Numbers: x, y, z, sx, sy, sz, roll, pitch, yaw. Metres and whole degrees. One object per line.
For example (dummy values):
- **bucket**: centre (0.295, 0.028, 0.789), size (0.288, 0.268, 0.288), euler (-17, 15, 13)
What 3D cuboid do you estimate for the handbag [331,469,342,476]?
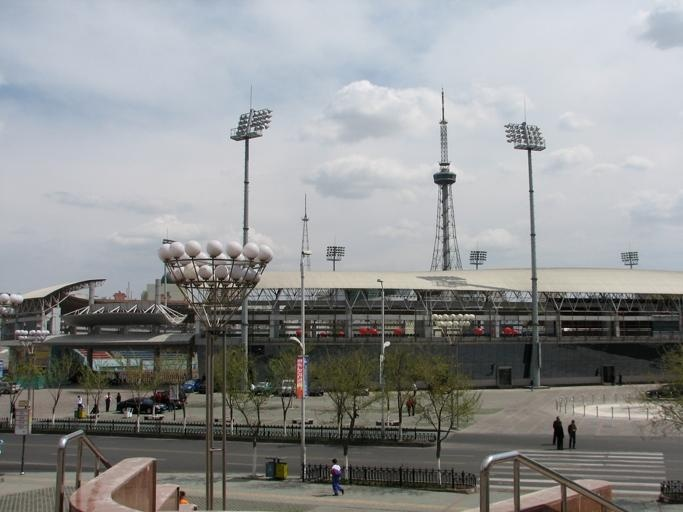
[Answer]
- **handbag**: centre (-0.343, 15.775, 91.749), size (0.641, 0.521, 0.618), euler (-3, -6, 11)

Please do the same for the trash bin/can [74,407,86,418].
- **trash bin/can**: centre (-24.299, 14.597, 117.279), size (1.044, 0.960, 0.985), euler (-1, -2, 4)
